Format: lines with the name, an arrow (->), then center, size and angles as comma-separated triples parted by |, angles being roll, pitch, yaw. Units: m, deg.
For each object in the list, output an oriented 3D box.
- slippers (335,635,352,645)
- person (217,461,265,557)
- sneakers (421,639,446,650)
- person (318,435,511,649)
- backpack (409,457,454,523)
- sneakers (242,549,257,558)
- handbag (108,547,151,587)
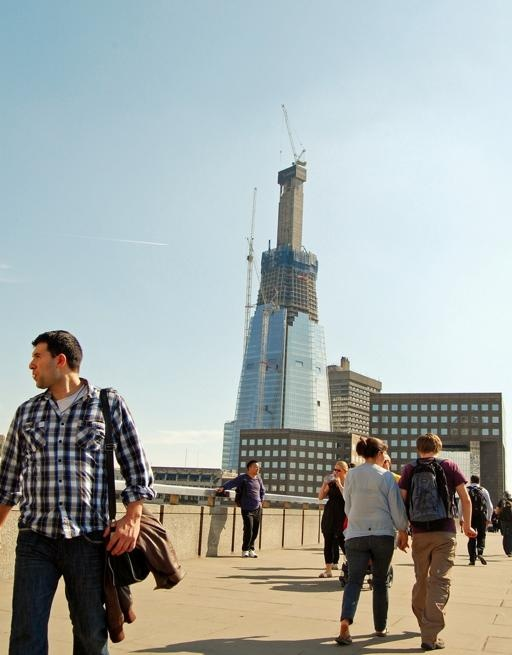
slippers -> 0.683, 2.438, 4.508 | 0.120, 0.073, 0.109 | 2, -10, 10
person -> -0.232, 3.869, 12.466 | 0.712, 1.958, 1.457 | -1, -11, 22
sneakers -> 1.374, 2.435, 4.468 | 0.173, 0.083, 0.080 | 1, -6, -29
person -> 1.314, 1.871, 5.173 | 1.079, 1.804, 1.602 | -1, -11, 23
backpack -> 1.553, 1.461, 5.127 | 0.446, 0.618, 0.341 | -3, -33, 9
sneakers -> -0.153, 4.708, 12.039 | 0.420, 0.157, 0.241 | 11, -13, -35
handbag -> -0.541, 0.999, 2.428 | 0.104, 0.188, 0.194 | -12, -9, 9
